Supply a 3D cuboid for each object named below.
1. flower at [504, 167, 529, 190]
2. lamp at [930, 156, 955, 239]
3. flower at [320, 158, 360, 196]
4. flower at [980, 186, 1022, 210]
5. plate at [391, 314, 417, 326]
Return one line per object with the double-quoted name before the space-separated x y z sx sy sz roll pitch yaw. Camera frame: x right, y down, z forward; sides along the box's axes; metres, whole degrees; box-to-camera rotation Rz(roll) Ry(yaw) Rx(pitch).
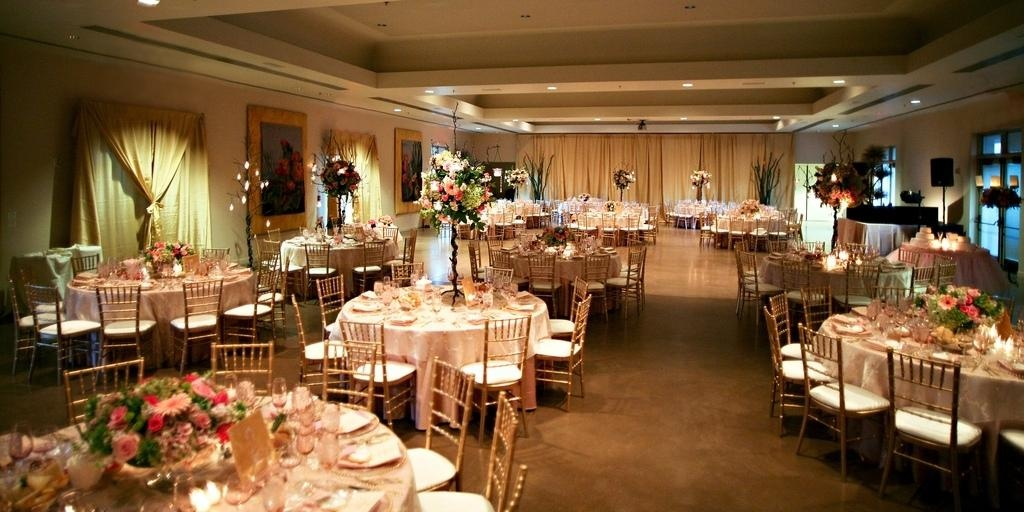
"flower" 0.361 -3.243 25.453 1.121 1.016 1.069 -6 13 -22
"lamp" 12.540 -1.786 17.362 0.600 1.953 0.578 -5 3 -9
"flower" -4.564 -2.053 16.089 1.104 1.024 1.081 4 16 13
"flower" 12.609 -1.476 15.390 0.773 0.608 0.788 6 8 40
"plate" -1.800 1.072 9.925 0.426 0.113 0.299 -2 6 0
